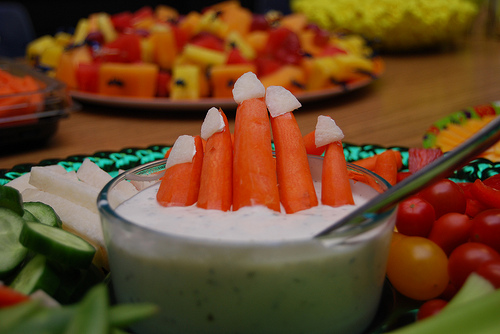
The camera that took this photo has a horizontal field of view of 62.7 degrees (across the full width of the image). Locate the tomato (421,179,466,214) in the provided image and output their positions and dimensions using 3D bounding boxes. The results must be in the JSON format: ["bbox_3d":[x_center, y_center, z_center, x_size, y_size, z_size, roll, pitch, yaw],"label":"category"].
[{"bbox_3d":[0.410,0.065,0.879,0.071,0.081,0.071,-6,23,-35],"label":"tomato"}]

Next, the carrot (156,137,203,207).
[{"bbox_3d":[-0.115,0.014,0.760,0.072,0.046,0.128,6,73,25],"label":"carrot"}]

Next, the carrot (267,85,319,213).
[{"bbox_3d":[0.067,-0.042,0.775,0.063,0.058,0.242,-15,68,13],"label":"carrot"}]

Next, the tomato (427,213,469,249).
[{"bbox_3d":[0.418,0.136,0.861,0.046,0.097,0.047,46,21,5],"label":"tomato"}]
